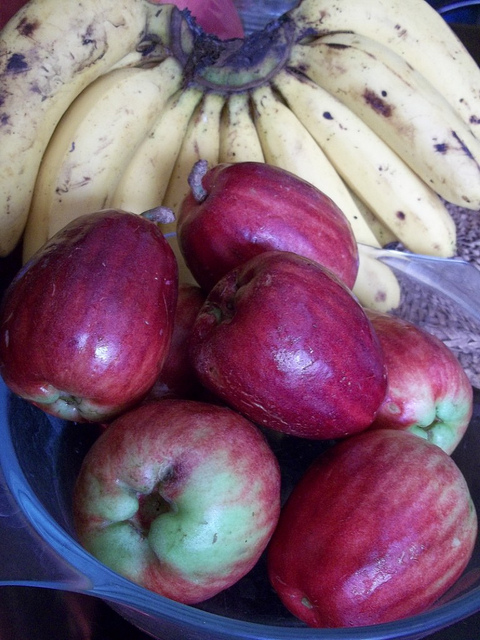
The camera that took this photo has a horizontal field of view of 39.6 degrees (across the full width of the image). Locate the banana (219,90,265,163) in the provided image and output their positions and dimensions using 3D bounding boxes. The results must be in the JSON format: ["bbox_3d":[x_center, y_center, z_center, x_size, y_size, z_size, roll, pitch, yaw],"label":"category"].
[{"bbox_3d":[0.007,-0.228,0.813,0.063,0.039,0.108,0,85,16],"label":"banana"}]

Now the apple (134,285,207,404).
[{"bbox_3d":[-0.054,0.019,0.611,0.076,0.051,0.082,10,74,15],"label":"apple"}]

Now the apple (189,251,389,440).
[{"bbox_3d":[0.036,0.025,0.540,0.141,0.103,0.105,34,19,-11],"label":"apple"}]

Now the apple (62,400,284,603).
[{"bbox_3d":[-0.047,0.132,0.518,0.154,0.069,0.149,31,65,16],"label":"apple"}]

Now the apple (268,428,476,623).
[{"bbox_3d":[0.116,0.167,0.589,0.174,0.124,0.125,-19,52,-38],"label":"apple"}]

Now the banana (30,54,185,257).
[{"bbox_3d":[-0.123,-0.223,0.816,0.091,0.121,0.319,44,58,-26],"label":"banana"}]

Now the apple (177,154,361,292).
[{"bbox_3d":[0.026,-0.092,0.637,0.153,0.102,0.096,30,30,-17],"label":"apple"}]
